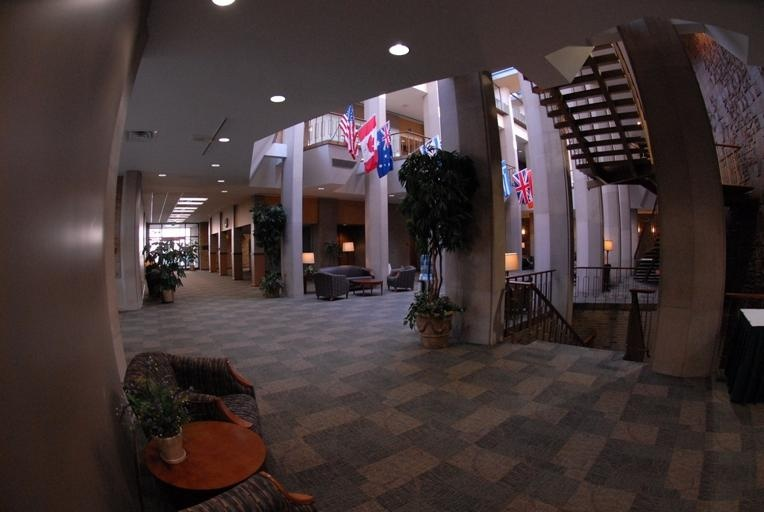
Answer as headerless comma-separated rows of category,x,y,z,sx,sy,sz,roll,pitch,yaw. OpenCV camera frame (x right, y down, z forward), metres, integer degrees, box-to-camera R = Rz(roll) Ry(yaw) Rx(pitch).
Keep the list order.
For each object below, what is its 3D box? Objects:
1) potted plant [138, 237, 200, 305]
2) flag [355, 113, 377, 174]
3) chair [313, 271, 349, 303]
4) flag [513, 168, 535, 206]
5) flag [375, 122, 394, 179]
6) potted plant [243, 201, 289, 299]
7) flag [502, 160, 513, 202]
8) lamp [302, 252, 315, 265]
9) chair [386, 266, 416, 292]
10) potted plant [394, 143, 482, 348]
potted plant,-6.151,0.290,13.086,1.584,2.019,1.888,-1,8,0
flag,-0.341,-2.773,11.575,0.413,1.264,0.762,-6,10,-33
chair,-1.413,0.745,12.782,0.762,0.855,0.826,-5,7,-40
flag,4.839,-2.337,15.917,0.676,1.273,2.729,2,10,16
flag,0.042,-2.643,11.640,0.399,1.286,0.556,-1,8,-1
potted plant,-3.241,-0.222,13.429,0.825,2.600,1.222,-4,9,-21
flag,4.216,-2.525,15.539,0.296,1.287,1.997,2,9,16
lamp,-2.030,0.129,12.753,0.387,0.414,0.397,-1,12,-16
chair,0.627,0.727,14.630,0.763,0.791,0.794,2,-1,-21
potted plant,0.877,-0.121,7.275,1.055,3.069,0.886,4,9,27
